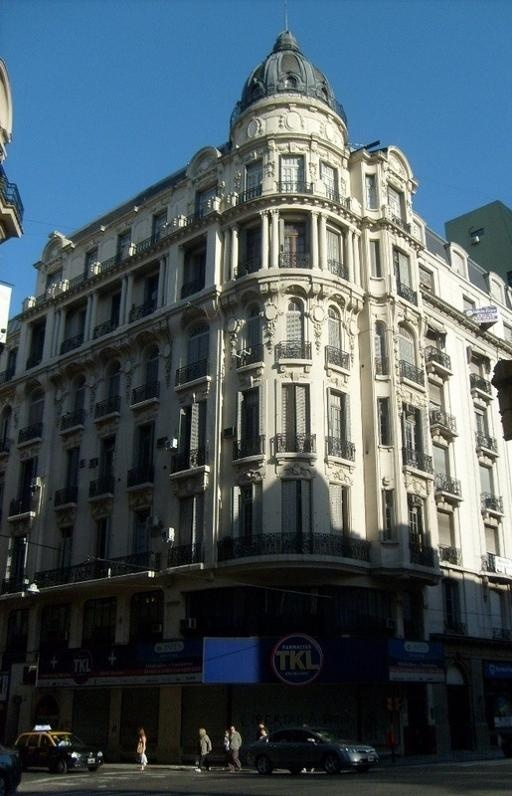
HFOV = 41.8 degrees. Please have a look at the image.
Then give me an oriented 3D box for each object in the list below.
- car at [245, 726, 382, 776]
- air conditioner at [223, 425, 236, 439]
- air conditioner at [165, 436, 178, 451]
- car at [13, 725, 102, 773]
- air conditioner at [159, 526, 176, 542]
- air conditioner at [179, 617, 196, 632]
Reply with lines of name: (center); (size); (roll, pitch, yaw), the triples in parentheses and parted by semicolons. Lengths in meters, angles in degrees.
car: (1.153, 8.449, 16.396); (3.033, 1.020, 1.320); (-19, -35, 26)
air conditioner: (-0.970, 1.257, 24.621); (0.161, 0.435, 0.500); (14, -9, -32)
air conditioner: (-3.283, 1.763, 26.383); (0.394, 0.609, 0.800); (9, -27, -19)
car: (-6.125, 10.940, 20.723); (2.916, 1.097, 1.139); (-21, -32, 37)
air conditioner: (-3.327, 5.144, 25.386); (0.288, 0.536, 0.560); (9, -19, -31)
air conditioner: (-2.375, 8.070, 23.642); (0.616, 0.604, 0.613); (10, -20, -33)
